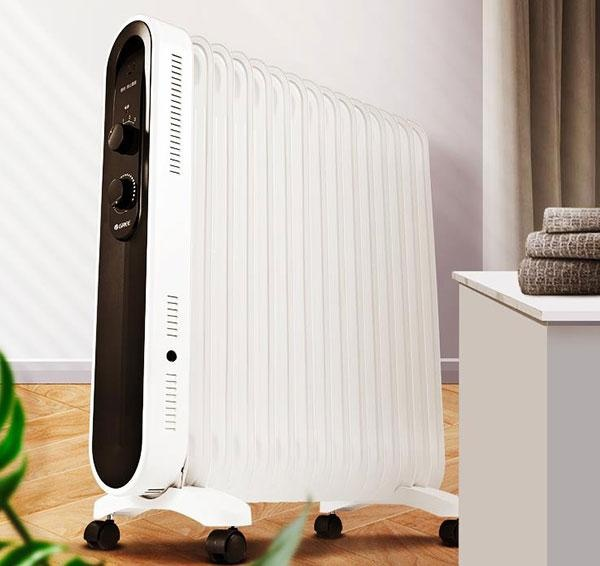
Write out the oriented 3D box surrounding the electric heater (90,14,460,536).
[{"bbox_3d":[-0.036,0.033,1.474,0.843,1.014,0.544,1,-3,-33],"label":"electric heater"}]
